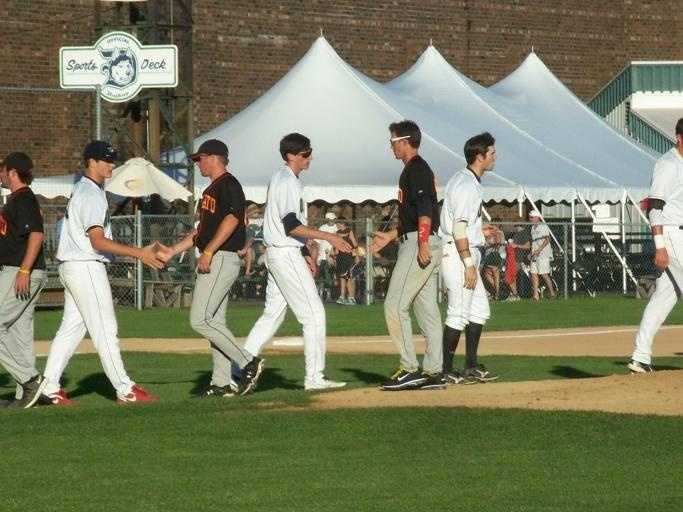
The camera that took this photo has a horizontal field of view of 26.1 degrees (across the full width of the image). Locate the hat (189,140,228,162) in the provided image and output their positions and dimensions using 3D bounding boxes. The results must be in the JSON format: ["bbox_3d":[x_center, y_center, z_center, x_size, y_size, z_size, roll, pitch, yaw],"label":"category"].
[{"bbox_3d":[-2.031,-1.653,23.206,0.435,0.280,0.331,7,3,8],"label":"hat"}]

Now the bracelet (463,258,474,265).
[{"bbox_3d":[2.002,0.090,23.297,0.111,0.132,0.116,-2,1,20],"label":"bracelet"}]

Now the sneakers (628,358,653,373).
[{"bbox_3d":[4.844,1.786,24.101,0.436,0.209,0.161,7,1,-30],"label":"sneakers"}]

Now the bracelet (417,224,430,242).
[{"bbox_3d":[1.300,-0.363,23.092,0.203,0.365,0.248,0,1,13],"label":"bracelet"}]

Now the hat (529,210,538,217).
[{"bbox_3d":[4.731,-1.031,36.144,0.188,0.109,0.140,-4,0,32],"label":"hat"}]

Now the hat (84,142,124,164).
[{"bbox_3d":[-3.693,-1.607,22.961,0.442,0.276,0.337,-5,13,-10],"label":"hat"}]
